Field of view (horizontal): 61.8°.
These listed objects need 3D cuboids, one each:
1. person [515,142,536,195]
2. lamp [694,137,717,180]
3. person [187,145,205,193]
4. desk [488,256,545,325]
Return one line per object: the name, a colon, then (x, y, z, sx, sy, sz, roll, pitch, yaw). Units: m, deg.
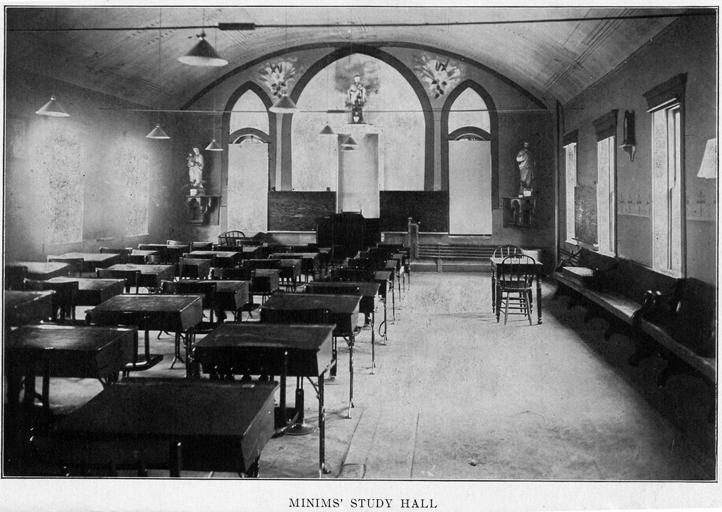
person: (5.260, -2.793, 19.150, 0.379, 1.688, 0.812, 0, 4, -13)
lamp: (4.408, -1.244, 7.639, 0.189, 0.531, 1.330, 3, 4, 29)
person: (-5.730, -2.940, 20.822, 0.568, 1.628, 0.320, 0, 4, -17)
desk: (2.999, 0.515, 11.700, 0.982, 1.618, 1.126, -1, 10, 2)
